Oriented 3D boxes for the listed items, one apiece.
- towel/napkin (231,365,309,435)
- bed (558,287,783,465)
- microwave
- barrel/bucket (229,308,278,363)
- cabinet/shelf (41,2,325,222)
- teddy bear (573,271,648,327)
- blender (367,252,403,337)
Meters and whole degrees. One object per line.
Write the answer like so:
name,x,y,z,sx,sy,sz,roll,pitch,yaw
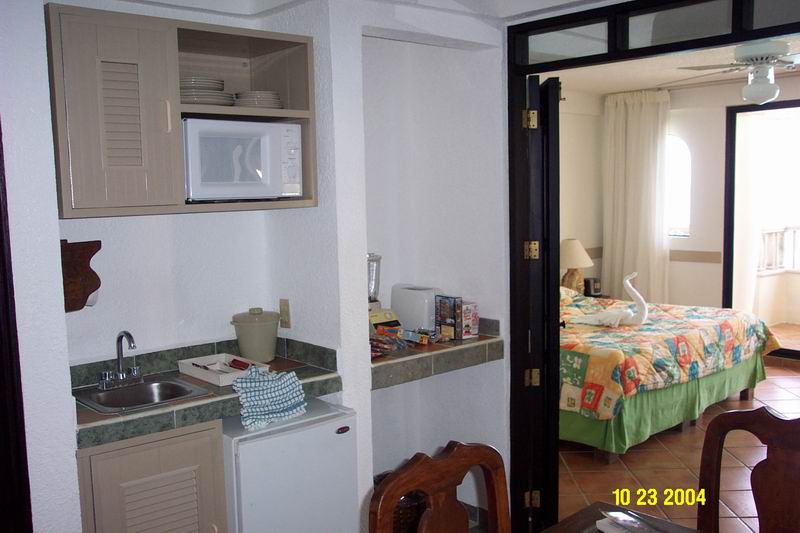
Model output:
towel/napkin,-0.654,0.664,2.986,0.326,0.248,0.119,-9,10,-35
bed,2.118,0.869,4.888,1.553,0.469,1.598,4,9,42
microwave,-0.828,-0.548,3.056,0.697,0.448,0.413,-5,8,-37
barrel/bucket,-0.812,0.385,3.467,0.341,0.319,0.297,-1,2,-8
cabinet/shelf,-1.088,-0.764,2.929,1.252,0.860,0.470,-6,7,-41
teddy bear,1.946,0.316,5.515,0.685,0.484,0.330,0,5,21
blender,-0.108,0.159,3.814,0.193,0.488,0.411,-3,8,0
